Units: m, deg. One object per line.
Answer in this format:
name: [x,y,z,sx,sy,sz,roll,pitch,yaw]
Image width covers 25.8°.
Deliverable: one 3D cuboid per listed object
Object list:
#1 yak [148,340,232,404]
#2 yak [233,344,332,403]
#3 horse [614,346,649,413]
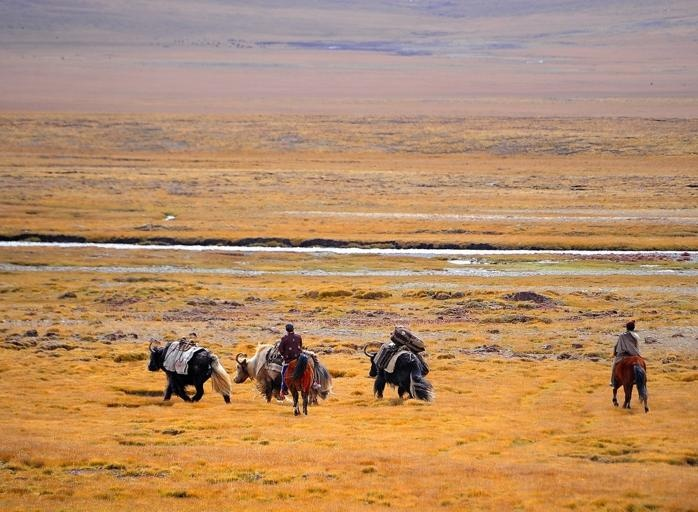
yak: [-12.052,8.560,113.470,5.750,4.723,1.461,1,2,10]
yak: [-4.862,8.846,113.843,9.034,3.856,2.575,0,3,37]
horse: [20.990,9.402,114.770,2.549,4.140,7.996,7,-5,-2]
